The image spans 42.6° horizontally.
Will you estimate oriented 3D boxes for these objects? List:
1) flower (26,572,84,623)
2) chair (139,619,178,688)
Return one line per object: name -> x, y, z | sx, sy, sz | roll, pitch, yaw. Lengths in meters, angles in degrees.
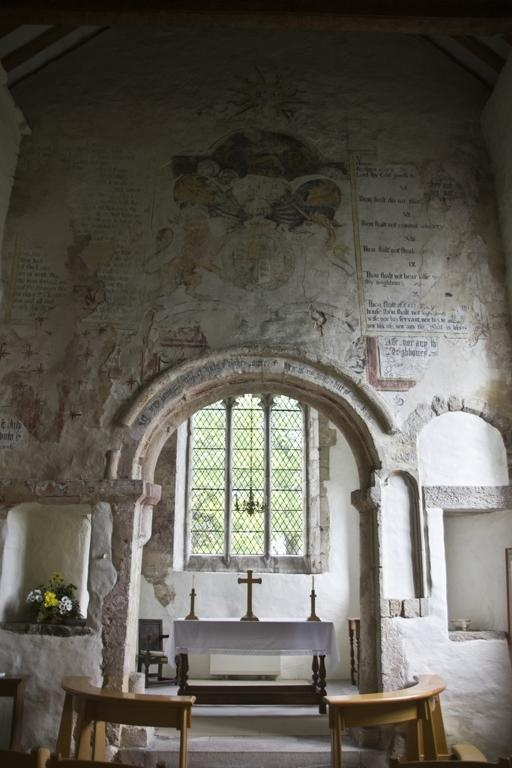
flower -> -1.697, 1.800, 5.521 | 0.366, 0.399, 0.370 | 15, -27, -38
chair -> -1.124, 3.078, 7.585 | 0.490, 0.688, 0.510 | -5, -19, 15
